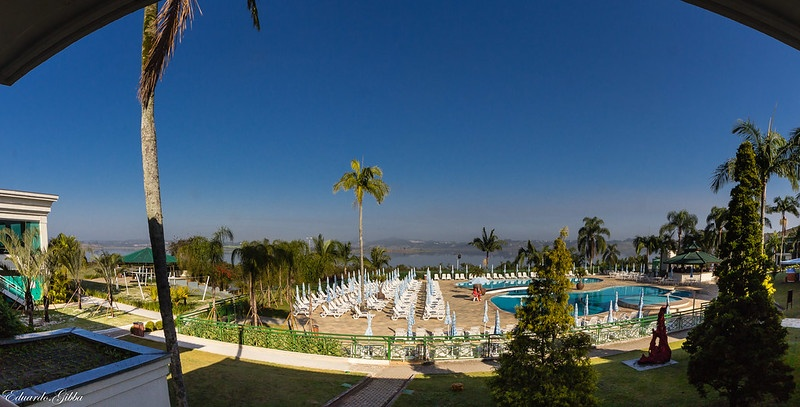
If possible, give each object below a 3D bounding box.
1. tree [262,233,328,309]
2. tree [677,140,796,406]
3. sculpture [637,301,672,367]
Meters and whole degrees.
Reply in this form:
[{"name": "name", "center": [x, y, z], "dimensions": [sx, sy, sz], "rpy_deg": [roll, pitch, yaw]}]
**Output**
[{"name": "tree", "center": [-8.838, 5.925, 36.220], "dimensions": [4.685, 5.443, 13.873], "rpy_deg": [2, -8, -17]}, {"name": "tree", "center": [16.513, 3.280, 21.160], "dimensions": [3.951, 12.787, 0.988], "rpy_deg": [-1, -6, 8]}, {"name": "sculpture", "center": [14.804, 7.641, 25.163], "dimensions": [1.333, 3.242, 1.804], "rpy_deg": [-5, -8, 38]}]
